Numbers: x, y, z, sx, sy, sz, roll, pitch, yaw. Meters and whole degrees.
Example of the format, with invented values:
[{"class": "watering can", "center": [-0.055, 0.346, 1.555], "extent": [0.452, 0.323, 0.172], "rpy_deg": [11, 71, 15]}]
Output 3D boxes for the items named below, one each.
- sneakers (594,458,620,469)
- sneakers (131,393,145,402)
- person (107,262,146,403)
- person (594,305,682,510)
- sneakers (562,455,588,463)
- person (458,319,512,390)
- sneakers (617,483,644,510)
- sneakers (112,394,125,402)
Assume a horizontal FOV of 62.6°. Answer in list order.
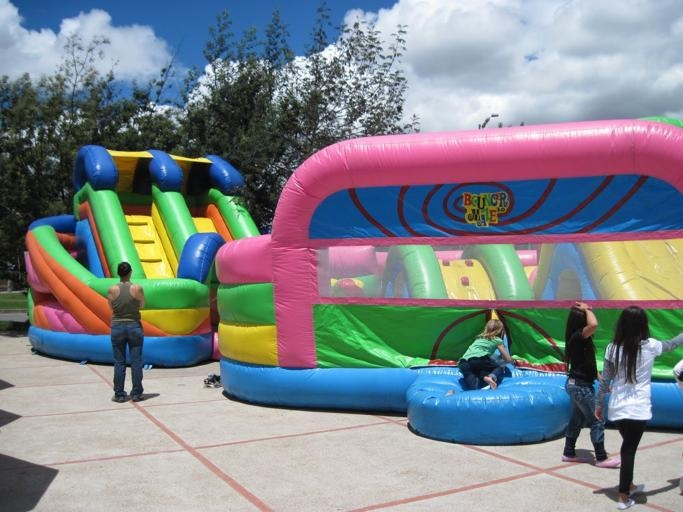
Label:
[{"class": "sneakers", "center": [2.383, 1.844, 5.032], "extent": [0.177, 0.074, 0.096], "rpy_deg": [-5, -5, 4]}, {"class": "sneakers", "center": [-2.607, 1.805, 7.194], "extent": [0.076, 0.080, 0.181], "rpy_deg": [1, 0, 15]}, {"class": "person", "center": [-2.758, 0.961, 7.235], "extent": [0.412, 1.753, 0.410], "rpy_deg": [0, 1, -16]}, {"class": "person", "center": [2.288, 1.154, 4.523], "extent": [0.706, 1.503, 0.399], "rpy_deg": [-1, 1, -42]}, {"class": "sneakers", "center": [2.122, 1.849, 5.109], "extent": [0.216, 0.082, 0.077], "rpy_deg": [-2, -4, 1]}, {"class": "person", "center": [1.649, 1.089, 6.251], "extent": [0.581, 0.857, 0.410], "rpy_deg": [14, -31, 6]}, {"class": "sneakers", "center": [2.223, 1.872, 4.330], "extent": [0.109, 0.144, 0.366], "rpy_deg": [0, 10, 36]}, {"class": "sneakers", "center": [-2.816, 1.796, 7.124], "extent": [0.175, 0.088, 0.140], "rpy_deg": [0, 1, -21]}]
